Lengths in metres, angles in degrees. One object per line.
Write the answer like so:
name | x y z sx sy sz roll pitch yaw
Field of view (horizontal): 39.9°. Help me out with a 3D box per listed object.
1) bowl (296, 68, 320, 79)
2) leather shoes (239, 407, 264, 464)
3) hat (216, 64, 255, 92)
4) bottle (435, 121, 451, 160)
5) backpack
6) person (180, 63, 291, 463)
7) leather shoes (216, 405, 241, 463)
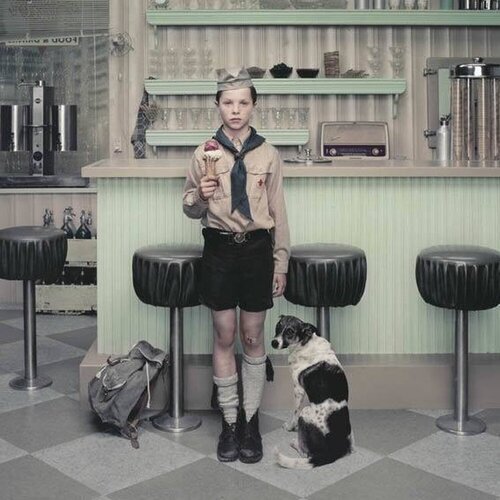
bowl | 0.440 -1.337 5.223 0.173 0.087 0.211 1 9 6
leather shoes | -0.002 0.748 2.755 0.080 0.180 0.256 -6 -3 2
hat | -0.065 -0.653 2.630 0.110 0.093 0.088 -5 17 1
bottle | 1.067 -0.617 3.794 0.069 0.237 0.086 2 7 16
backpack | -0.525 0.586 2.952 0.269 0.381 0.142 32 -21 2
person | -0.046 0.058 2.705 0.424 1.514 0.314 -1 6 -6
leather shoes | -0.080 0.754 2.768 0.080 0.136 0.309 3 2 2
